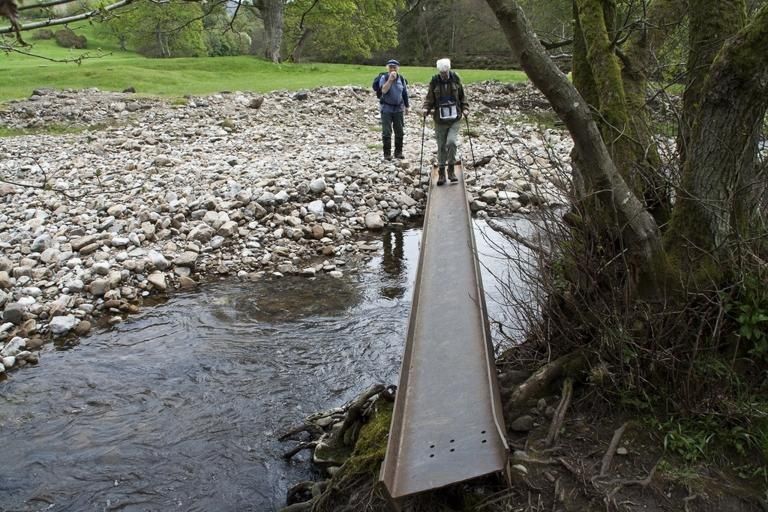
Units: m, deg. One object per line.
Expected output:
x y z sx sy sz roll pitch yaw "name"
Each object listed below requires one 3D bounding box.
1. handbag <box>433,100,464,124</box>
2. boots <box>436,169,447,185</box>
1.228 -2.794 10.907 0.633 0.521 0.355 -5 21 -3 "handbag"
1.096 -1.504 10.646 0.169 0.286 0.284 2 24 8 "boots"
